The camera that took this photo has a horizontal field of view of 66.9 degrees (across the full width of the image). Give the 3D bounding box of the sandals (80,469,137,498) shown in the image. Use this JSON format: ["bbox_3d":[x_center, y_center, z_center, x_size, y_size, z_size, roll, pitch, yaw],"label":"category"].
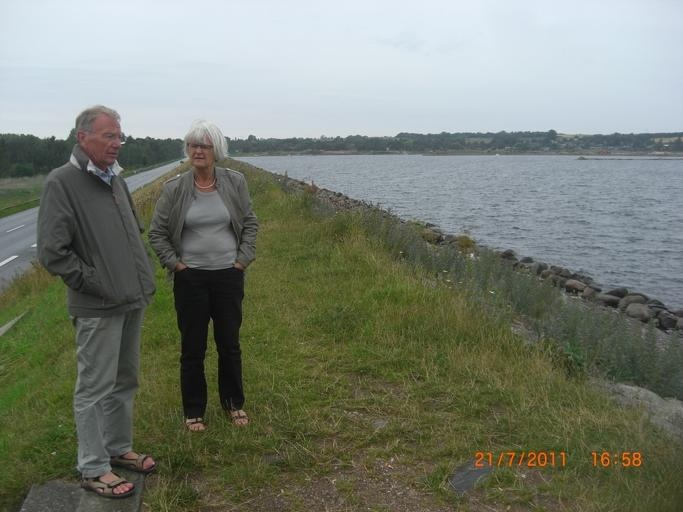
[{"bbox_3d":[-2.021,1.949,4.482,0.403,0.163,0.209,2,7,7],"label":"sandals"}]

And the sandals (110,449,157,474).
[{"bbox_3d":[-1.918,1.907,4.817,0.406,0.113,0.176,6,29,4],"label":"sandals"}]

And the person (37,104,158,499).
[{"bbox_3d":[-2.100,0.385,4.533,0.770,3.286,0.998,3,14,8],"label":"person"}]
